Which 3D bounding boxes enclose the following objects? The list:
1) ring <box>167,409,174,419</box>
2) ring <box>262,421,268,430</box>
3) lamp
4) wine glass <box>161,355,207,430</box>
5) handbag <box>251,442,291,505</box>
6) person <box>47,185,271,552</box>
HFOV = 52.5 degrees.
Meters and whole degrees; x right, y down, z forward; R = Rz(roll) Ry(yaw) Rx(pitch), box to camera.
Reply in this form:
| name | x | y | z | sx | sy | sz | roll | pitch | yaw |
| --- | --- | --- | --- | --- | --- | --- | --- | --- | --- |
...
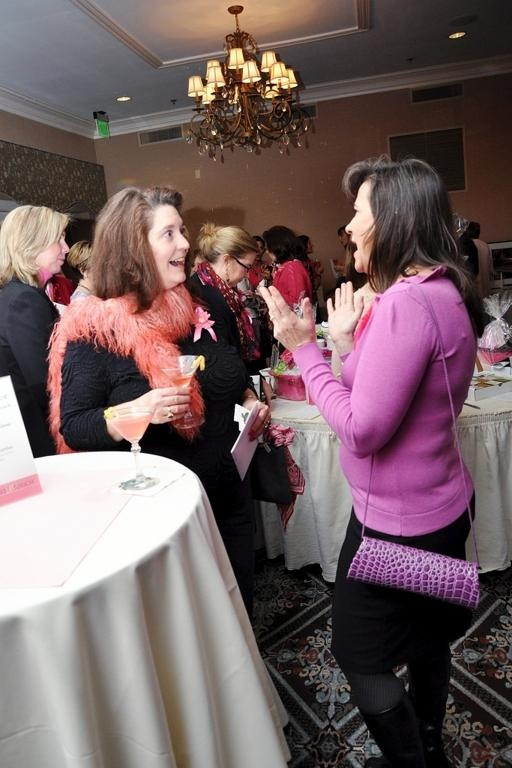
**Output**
| name | x | y | z | sx | sy | sz | roll | pitch | yaw |
| --- | --- | --- | --- | --- | --- | --- | --- | --- | --- |
| ring | -0.203 | 0.069 | 1.209 | 0.016 | 0.036 | 0.022 | 0 | 12 | -6 |
| ring | 0.026 | 0.128 | 1.629 | 0.009 | 0.025 | 0.019 | 9 | 1 | 36 |
| lamp | -0.095 | -2.651 | 4.717 | 0.879 | 1.386 | 2.290 | -2 | 9 | 0 |
| wine glass | -0.188 | 0.032 | 1.378 | 0.100 | 0.229 | 0.344 | -3 | 9 | -5 |
| handbag | 0.048 | 0.277 | 1.656 | 0.215 | 0.199 | 0.084 | -2 | -3 | 29 |
| person | -0.266 | 0.059 | 1.546 | 0.563 | 1.188 | 0.596 | 10 | 18 | 37 |
